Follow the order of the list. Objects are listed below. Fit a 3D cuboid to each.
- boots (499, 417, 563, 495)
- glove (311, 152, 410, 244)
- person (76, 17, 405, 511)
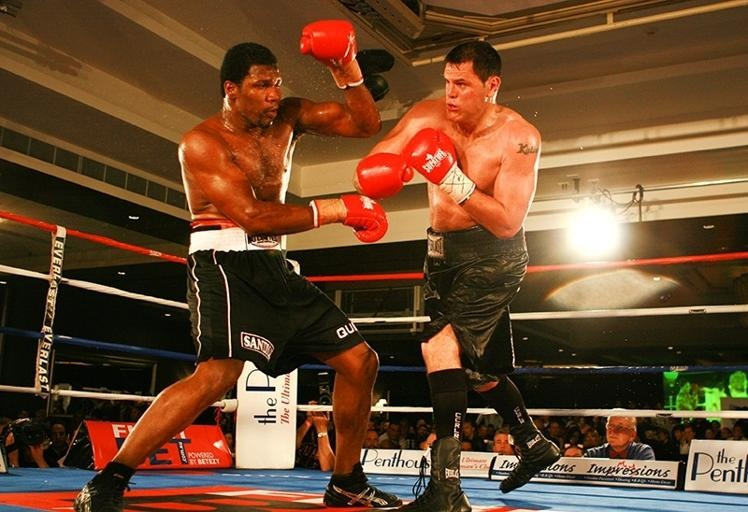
[{"bbox_3d":[0.940,1.236,4.211,0.466,0.302,0.171,-38,-52,22],"label":"boots"},{"bbox_3d":[0.005,-0.302,3.677,0.236,0.487,0.468,17,-65,-46],"label":"glove"},{"bbox_3d":[-0.587,0.011,3.470,1.391,2.498,0.836,7,-19,-16],"label":"person"}]
